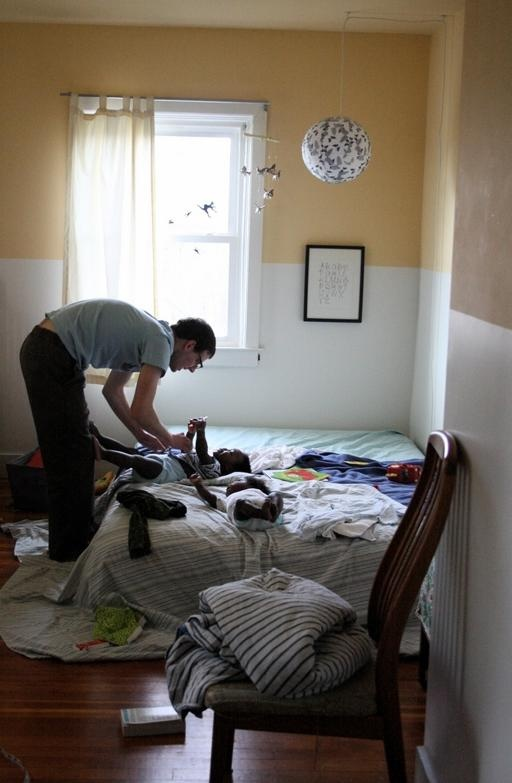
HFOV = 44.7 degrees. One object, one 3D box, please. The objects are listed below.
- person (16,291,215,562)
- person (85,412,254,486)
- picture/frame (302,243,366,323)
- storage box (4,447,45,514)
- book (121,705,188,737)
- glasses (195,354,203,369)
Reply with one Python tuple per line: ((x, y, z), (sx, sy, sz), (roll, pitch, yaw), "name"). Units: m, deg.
((-0.567, 0.172, 2.573), (0.717, 1.087, 0.432), (5, 9, 17), "person")
((-0.372, 0.284, 2.858), (0.718, 0.356, 0.313), (13, -8, -16), "person")
((0.472, -0.684, 3.800), (0.432, 0.565, 0.041), (0, 9, -2), "picture/frame")
((-1.174, 0.471, 3.333), (0.281, 0.289, 0.286), (-8, 18, -20), "storage box")
((-0.278, 0.872, 1.673), (0.165, 0.056, 0.115), (0, 9, -14), "book")
((-0.235, -0.125, 2.561), (0.014, 0.051, 0.047), (0, -6, -14), "glasses")
